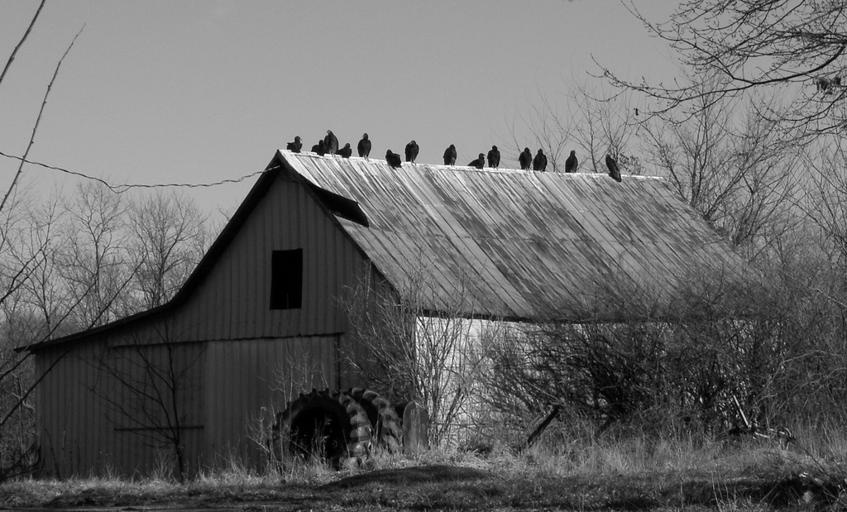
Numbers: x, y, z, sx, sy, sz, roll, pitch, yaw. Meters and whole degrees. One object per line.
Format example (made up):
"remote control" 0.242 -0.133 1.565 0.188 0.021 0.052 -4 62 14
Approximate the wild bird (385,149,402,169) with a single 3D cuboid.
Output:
"wild bird" -0.835 -2.755 36.961 0.451 0.526 0.685 -5 10 -4

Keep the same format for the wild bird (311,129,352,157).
"wild bird" -2.638 -3.165 36.679 1.057 0.776 0.872 -7 10 -14
